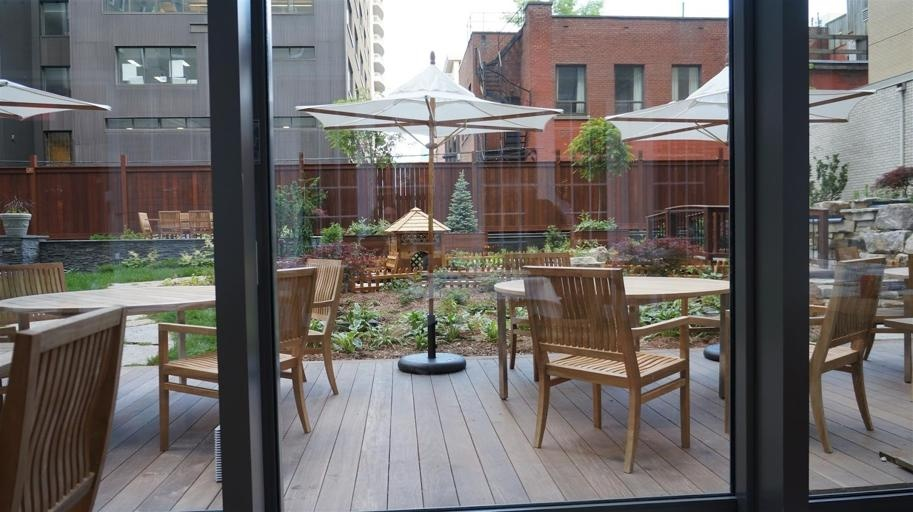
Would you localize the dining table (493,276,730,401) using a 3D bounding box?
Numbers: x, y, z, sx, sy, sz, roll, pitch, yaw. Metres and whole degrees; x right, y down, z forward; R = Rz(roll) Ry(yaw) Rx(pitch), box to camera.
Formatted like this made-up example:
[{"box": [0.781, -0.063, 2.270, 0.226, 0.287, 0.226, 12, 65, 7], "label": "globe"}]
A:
[{"box": [0.968, 0.320, 4.196, 0.898, 0.488, 0.861, -2, 4, -13], "label": "dining table"}]

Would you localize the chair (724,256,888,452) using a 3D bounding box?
[{"box": [2.088, 0.529, 4.350, 0.685, 1.025, 0.735, -4, 5, -34], "label": "chair"}]

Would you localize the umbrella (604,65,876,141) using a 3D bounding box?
[{"box": [1.517, -0.840, 4.084, 1.340, 0.419, 0.171, -2, 6, 8], "label": "umbrella"}]

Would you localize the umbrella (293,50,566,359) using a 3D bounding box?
[{"box": [-0.036, -0.328, 4.934, 1.738, 1.770, 1.735, 0, 2, 33], "label": "umbrella"}]

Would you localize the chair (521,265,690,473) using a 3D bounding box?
[{"box": [0.940, 0.615, 4.502, 0.974, 1.070, 0.966, 0, 0, -21], "label": "chair"}]
